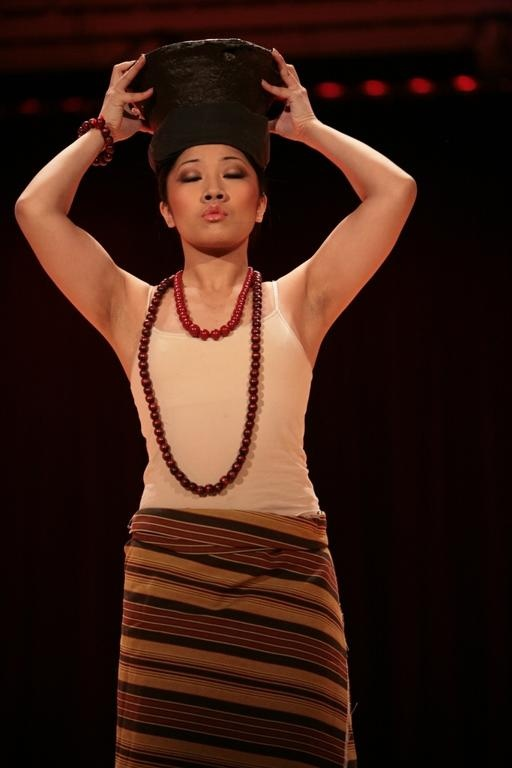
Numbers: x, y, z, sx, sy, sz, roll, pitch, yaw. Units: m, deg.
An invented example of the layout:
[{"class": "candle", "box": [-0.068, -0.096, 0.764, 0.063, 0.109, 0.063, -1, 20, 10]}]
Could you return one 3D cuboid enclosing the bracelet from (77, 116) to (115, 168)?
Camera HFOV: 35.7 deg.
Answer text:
[{"class": "bracelet", "box": [-0.311, -0.486, 1.612, 0.038, 0.077, 0.095, -17, 90, -5]}]
